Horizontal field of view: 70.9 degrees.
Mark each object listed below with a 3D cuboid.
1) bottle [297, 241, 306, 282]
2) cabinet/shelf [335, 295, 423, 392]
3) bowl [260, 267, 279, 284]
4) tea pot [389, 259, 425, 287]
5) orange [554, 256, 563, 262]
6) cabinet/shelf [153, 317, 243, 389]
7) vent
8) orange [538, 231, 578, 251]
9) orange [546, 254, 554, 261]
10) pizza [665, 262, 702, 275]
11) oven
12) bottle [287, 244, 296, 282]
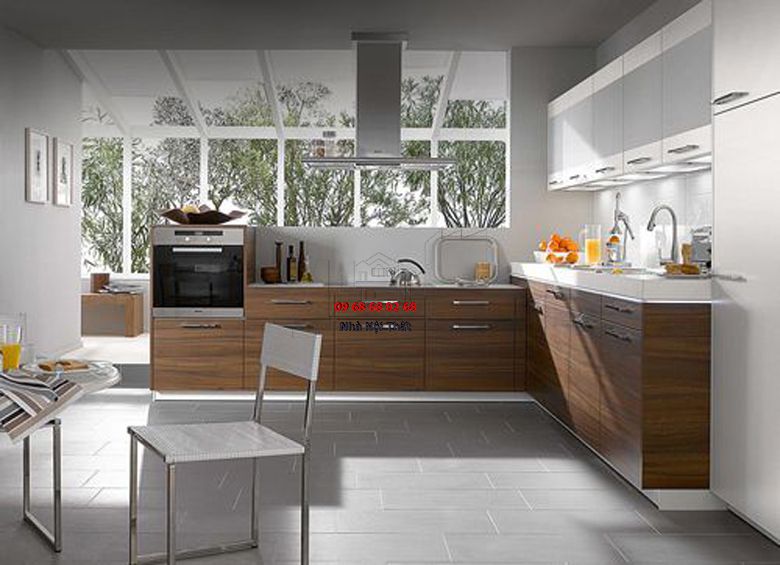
[{"bbox_3d":[-0.806,-0.193,5.028,0.079,0.363,0.201,0,6,-8],"label":"bottle"},{"bbox_3d":[-0.052,0.506,4.918,1.070,1.044,0.760,0,-5,2],"label":"cabinet/shelf"},{"bbox_3d":[-1.067,-0.057,4.902,0.158,0.107,0.155,0,-3,0],"label":"bowl"},{"bbox_3d":[0.145,-0.076,4.984,0.336,0.245,0.237,3,-6,3],"label":"tea pot"},{"bbox_3d":[1.376,-0.186,4.479,0.042,0.021,0.057,4,-8,-37],"label":"orange"},{"bbox_3d":[-1.578,0.606,4.660,0.708,0.439,0.650,1,-7,-4],"label":"cabinet/shelf"},{"bbox_3d":[-0.093,-1.927,5.675,1.792,1.345,0.623,0,-4,0],"label":"vent"},{"bbox_3d":[1.435,-0.351,4.728,0.251,0.092,0.231,2,-9,4],"label":"orange"},{"bbox_3d":[1.322,-0.203,4.546,0.069,0.071,0.040,5,7,36],"label":"orange"},{"bbox_3d":[1.530,-0.067,2.872,0.164,0.050,0.240,4,6,27],"label":"pizza"},{"bbox_3d":[-1.453,-0.088,4.906,1.058,0.875,0.729,0,-4,-1],"label":"oven"},{"bbox_3d":[-0.893,-0.174,5.010,0.089,0.341,0.220,0,6,-13],"label":"bottle"}]
